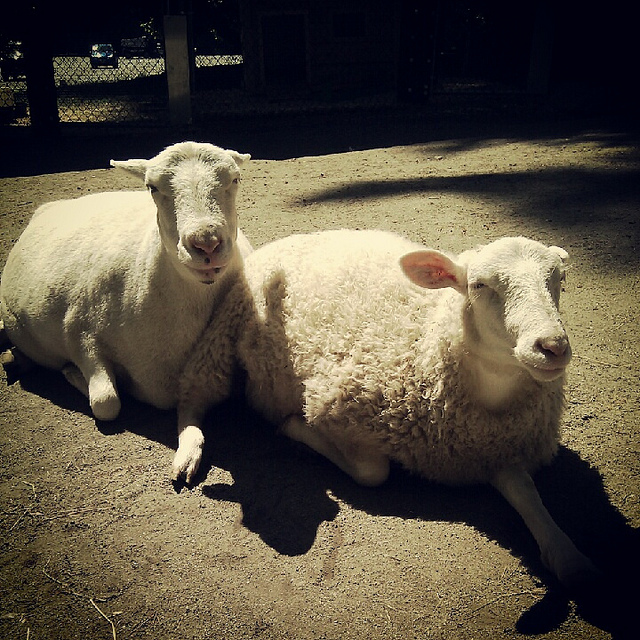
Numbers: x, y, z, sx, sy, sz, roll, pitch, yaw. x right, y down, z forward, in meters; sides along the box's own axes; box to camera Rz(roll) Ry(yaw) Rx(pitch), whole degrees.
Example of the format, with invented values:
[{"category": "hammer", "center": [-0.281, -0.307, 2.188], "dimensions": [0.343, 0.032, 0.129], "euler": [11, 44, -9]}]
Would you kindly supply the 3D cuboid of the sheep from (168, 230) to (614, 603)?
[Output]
[{"category": "sheep", "center": [0.388, 0.163, 4.036], "dimensions": [1.380, 1.424, 2.074], "euler": [-10, 28, -42]}]
